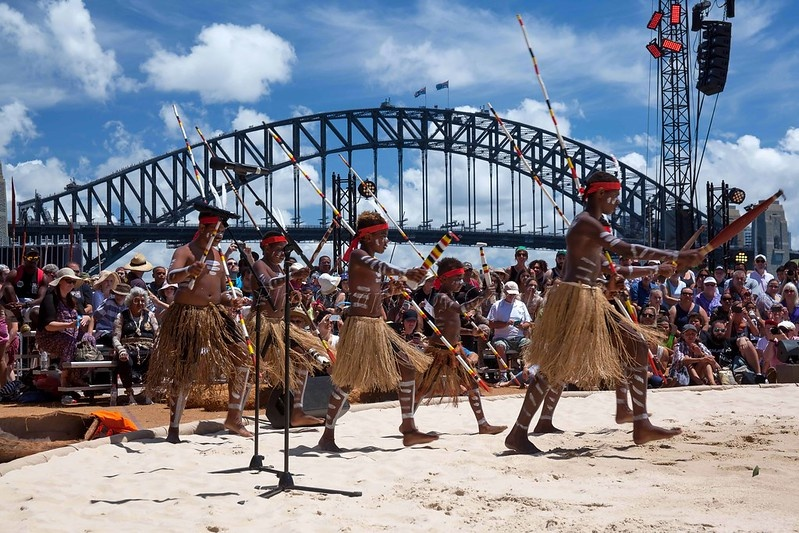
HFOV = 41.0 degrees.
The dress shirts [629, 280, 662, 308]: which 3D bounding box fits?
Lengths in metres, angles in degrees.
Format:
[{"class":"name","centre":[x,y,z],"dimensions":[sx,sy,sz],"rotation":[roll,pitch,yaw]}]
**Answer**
[{"class":"dress shirts","centre":[3.453,0.400,14.955],"dimensions":[0.363,0.320,0.202],"rotation":[3,-26,-2]}]

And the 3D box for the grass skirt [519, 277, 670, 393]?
[{"class":"grass skirt","centre":[1.877,0.653,10.577],"dimensions":[1.122,1.021,1.109],"rotation":[-11,12,-27]}]

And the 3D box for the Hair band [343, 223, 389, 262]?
[{"class":"Hair band","centre":[-0.403,-0.261,10.900],"dimensions":[0.217,0.441,0.448],"rotation":[28,12,30]}]

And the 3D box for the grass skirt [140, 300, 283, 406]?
[{"class":"grass skirt","centre":[-1.997,0.843,11.199],"dimensions":[0.958,1.119,1.152],"rotation":[-1,-2,45]}]

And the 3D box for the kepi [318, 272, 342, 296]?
[{"class":"kepi","centre":[-0.716,0.155,11.117],"dimensions":[0.132,0.237,0.211],"rotation":[21,-21,-19]}]

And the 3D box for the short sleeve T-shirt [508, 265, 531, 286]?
[{"class":"short sleeve T-shirt","centre":[1.726,0.140,15.240],"dimensions":[0.253,0.280,0.162],"rotation":[2,-27,-3]}]

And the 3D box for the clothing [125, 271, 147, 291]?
[{"class":"clothing","centre":[-3.385,0.198,13.580],"dimensions":[0.165,0.143,0.300],"rotation":[-8,10,-23]}]

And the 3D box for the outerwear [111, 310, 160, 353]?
[{"class":"outerwear","centre":[-3.297,0.823,13.173],"dimensions":[0.457,0.476,0.289],"rotation":[2,-17,-29]}]

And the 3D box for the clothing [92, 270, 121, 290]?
[{"class":"clothing","centre":[-3.866,0.194,13.990],"dimensions":[0.210,0.107,0.279],"rotation":[9,-42,-10]}]

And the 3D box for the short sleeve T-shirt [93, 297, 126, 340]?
[{"class":"short sleeve T-shirt","centre":[-3.709,0.680,13.571],"dimensions":[0.354,0.394,0.228],"rotation":[26,-35,-23]}]

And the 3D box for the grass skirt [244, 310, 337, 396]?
[{"class":"grass skirt","centre":[-1.213,0.927,11.579],"dimensions":[0.914,0.902,0.493],"rotation":[0,-21,-28]}]

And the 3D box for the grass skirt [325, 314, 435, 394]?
[{"class":"grass skirt","centre":[-0.217,0.902,10.886],"dimensions":[0.788,0.575,0.851],"rotation":[4,0,32]}]

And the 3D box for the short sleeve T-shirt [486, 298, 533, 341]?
[{"class":"short sleeve T-shirt","centre":[1.524,0.725,14.977],"dimensions":[0.857,0.710,0.470],"rotation":[1,-20,-3]}]

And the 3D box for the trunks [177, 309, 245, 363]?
[{"class":"trunks","centre":[-1.941,0.689,10.953],"dimensions":[0.581,0.397,0.597],"rotation":[4,-1,30]}]

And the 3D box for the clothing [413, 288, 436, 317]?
[{"class":"clothing","centre":[0.362,0.463,14.737],"dimensions":[0.320,0.317,0.092],"rotation":[9,-36,-24]}]
